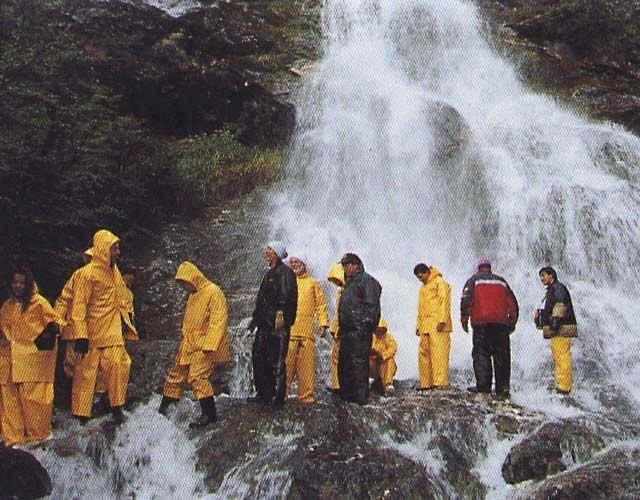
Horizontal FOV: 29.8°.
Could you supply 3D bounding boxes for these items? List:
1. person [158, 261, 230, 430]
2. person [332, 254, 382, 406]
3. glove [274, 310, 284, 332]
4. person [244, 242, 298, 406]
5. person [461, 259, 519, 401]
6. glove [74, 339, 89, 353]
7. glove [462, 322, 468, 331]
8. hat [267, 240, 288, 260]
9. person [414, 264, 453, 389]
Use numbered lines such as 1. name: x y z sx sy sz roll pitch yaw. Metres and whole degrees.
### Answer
1. person: -1.540 1.220 15.276 0.830 2.053 0.428 2 0 2
2. person: 0.504 1.024 15.398 0.522 1.825 0.370 2 0 2
3. glove: -0.486 0.900 15.149 0.102 0.243 0.073 2 5 4
4. person: -0.580 0.945 15.350 0.602 2.012 0.395 2 0 8
5. person: 2.252 1.093 15.932 0.655 2.018 0.584 2 -28 2
6. glove: -2.958 1.227 15.173 0.137 0.181 0.147 4 -9 -25
7. glove: 1.906 1.024 15.773 0.055 0.107 0.023 -11 21 8
8. hat: -0.517 -0.009 15.469 0.162 0.230 0.261 5 -19 26
9. person: 1.501 1.030 15.919 0.512 1.544 0.234 2 0 3
